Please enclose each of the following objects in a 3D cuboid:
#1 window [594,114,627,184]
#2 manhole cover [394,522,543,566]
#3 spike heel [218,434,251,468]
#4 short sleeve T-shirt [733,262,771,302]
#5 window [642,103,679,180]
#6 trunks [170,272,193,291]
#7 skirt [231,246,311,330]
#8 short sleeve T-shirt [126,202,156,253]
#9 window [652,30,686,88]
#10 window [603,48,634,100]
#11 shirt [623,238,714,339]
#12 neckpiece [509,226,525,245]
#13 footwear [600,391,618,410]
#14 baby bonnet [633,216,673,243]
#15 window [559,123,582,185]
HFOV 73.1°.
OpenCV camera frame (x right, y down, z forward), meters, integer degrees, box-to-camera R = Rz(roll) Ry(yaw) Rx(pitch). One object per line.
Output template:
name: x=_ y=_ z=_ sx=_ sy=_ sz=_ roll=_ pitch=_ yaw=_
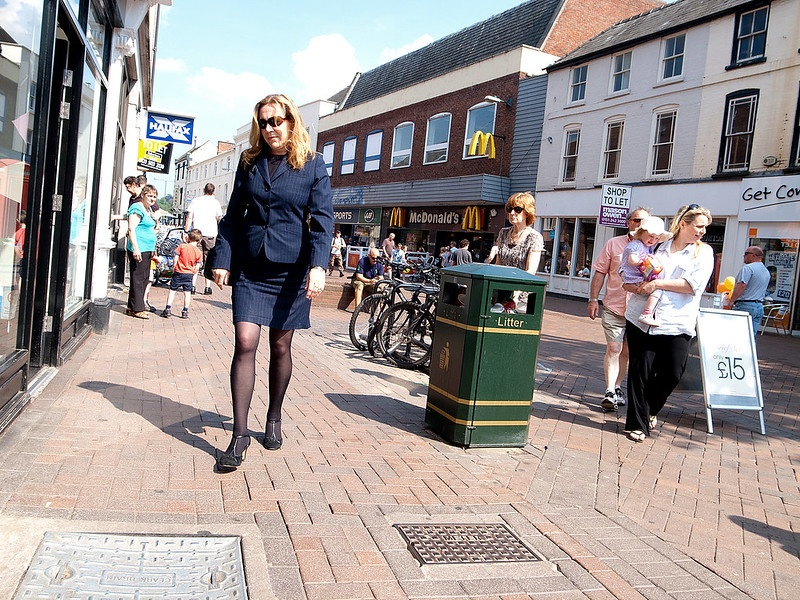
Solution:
window: x=8.439 y=-5.999 z=21.456 sx=0.246 sy=2.490 sz=0.953 roll=7 pitch=4 yaw=-27
manhole cover: x=0.363 y=1.378 z=2.941 sx=0.729 sy=0.017 sz=0.402 roll=7 pitch=4 yaw=-15
spike heel: x=-1.064 y=1.026 z=3.514 sx=0.159 sy=0.150 sz=0.299 roll=9 pitch=4 yaw=22
short sleeve T-shirt: x=6.252 y=-0.272 z=9.558 sx=0.585 sy=0.794 sz=0.277 roll=9 pitch=3 yaw=6
window: x=9.595 y=-5.758 z=19.644 sx=0.221 sy=2.621 sz=1.014 roll=7 pitch=4 yaw=-27
trunks: x=-3.952 y=-0.289 z=9.768 sx=0.400 sy=0.336 sz=0.222 roll=3 pitch=6 yaw=-9
skirt: x=-0.856 y=-0.046 z=3.787 sx=0.580 sy=0.526 sz=0.305 roll=4 pitch=-2 yaw=1
short sleeve T-shirt: x=-4.413 y=-1.212 z=9.264 sx=0.445 sy=0.699 sz=0.733 roll=2 pitch=-4 yaw=-14
window: x=9.923 y=-8.887 z=19.562 sx=0.222 sy=1.810 sz=0.975 roll=7 pitch=4 yaw=-28
window: x=8.762 y=-9.161 z=21.377 sx=0.210 sy=1.681 sz=0.975 roll=7 pitch=4 yaw=-29
shirt: x=2.767 y=-0.072 z=5.477 sx=0.569 sy=0.968 sz=0.776 roll=10 pitch=0 yaw=-17
neckpiece: x=1.176 y=-0.624 z=5.408 sx=0.147 sy=0.176 sz=0.048 roll=12 pitch=1 yaw=42
footwear: x=2.437 y=1.231 z=6.172 sx=0.308 sy=0.219 sz=0.125 roll=6 pitch=4 yaw=-33
baby bonnet: x=2.794 y=-0.761 z=5.799 sx=0.354 sy=0.173 sz=0.346 roll=11 pitch=-3 yaw=-27
window: x=7.346 y=-6.224 z=23.227 sx=1.077 sy=2.316 sz=0.204 roll=-14 pitch=19 yaw=-31
